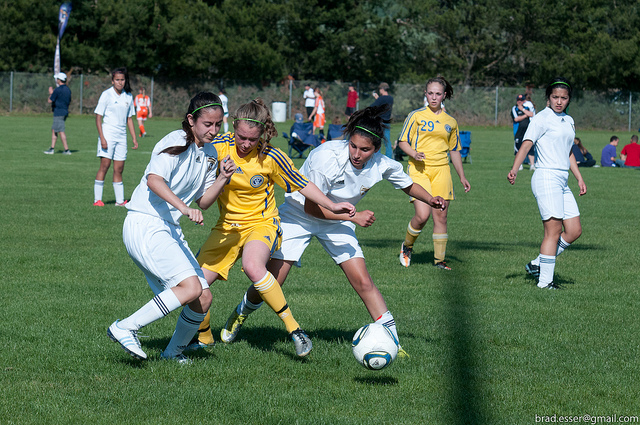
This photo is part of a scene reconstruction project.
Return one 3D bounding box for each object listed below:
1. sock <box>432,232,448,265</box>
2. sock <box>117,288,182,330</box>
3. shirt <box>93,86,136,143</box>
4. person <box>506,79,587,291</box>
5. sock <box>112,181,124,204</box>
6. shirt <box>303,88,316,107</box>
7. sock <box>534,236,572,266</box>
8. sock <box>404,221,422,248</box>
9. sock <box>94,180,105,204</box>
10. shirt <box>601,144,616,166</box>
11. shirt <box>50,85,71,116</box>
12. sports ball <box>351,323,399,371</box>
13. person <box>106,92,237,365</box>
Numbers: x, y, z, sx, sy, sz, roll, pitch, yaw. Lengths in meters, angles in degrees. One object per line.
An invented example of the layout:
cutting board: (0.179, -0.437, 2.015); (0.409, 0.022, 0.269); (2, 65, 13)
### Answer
sock: (2.026, 0.643, 13.832); (0.348, 0.578, 0.321); (0, -4, -37)
sock: (-2.075, 1.210, 10.158); (0.983, 0.376, 0.385); (-31, -6, -9)
shirt: (-4.273, -2.049, 16.901); (0.947, 1.152, 0.405); (-1, 7, -42)
person: (3.659, -0.456, 12.798); (1.150, 3.308, 0.639); (4, 6, 1)
sock: (-4.212, -0.426, 16.817); (0.216, 0.434, 0.272); (2, 7, -14)
shirt: (-0.480, -5.340, 37.344); (0.425, 0.830, 1.489); (4, 7, -1)
sock: (3.781, 0.618, 13.050); (0.245, 0.300, 0.982); (15, 34, 27)
sock: (1.566, 0.379, 13.801); (0.265, 0.434, 0.240); (3, 7, -11)
sock: (-4.619, -0.440, 16.788); (0.181, 0.529, 0.177); (14, 35, -12)
shirt: (9.204, -1.827, 25.663); (0.354, 0.703, 0.597); (-12, 20, -32)
shirt: (-7.489, -3.279, 23.264); (0.523, 0.943, 0.772); (13, 17, 11)
sports ball: (0.679, 1.740, 10.387); (0.578, 0.615, 0.568); (0, -12, 0)
person: (-1.859, 0.206, 10.224); (1.373, 3.504, 0.864); (2, 7, -16)
